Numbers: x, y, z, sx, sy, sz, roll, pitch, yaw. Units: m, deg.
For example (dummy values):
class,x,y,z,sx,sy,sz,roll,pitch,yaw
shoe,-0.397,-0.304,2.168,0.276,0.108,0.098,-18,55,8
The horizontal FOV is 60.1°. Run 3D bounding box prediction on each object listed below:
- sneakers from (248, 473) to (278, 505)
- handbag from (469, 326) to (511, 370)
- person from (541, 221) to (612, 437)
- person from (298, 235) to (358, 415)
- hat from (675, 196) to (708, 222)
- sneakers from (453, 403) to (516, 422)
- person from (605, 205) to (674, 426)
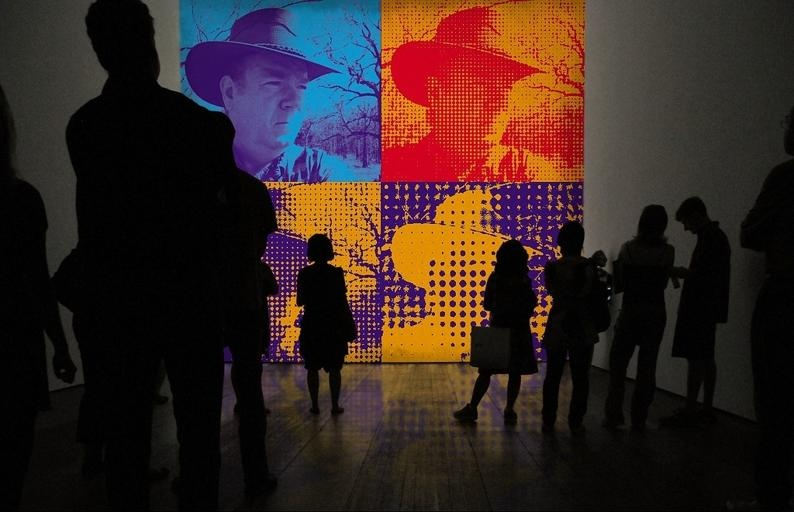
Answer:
class,x,y,z,sx,sy,sz,roll,pitch,yaw
sneakers,-0.896,1.554,4.588,0.083,0.176,0.244,8,14,37
handbag,0.813,0.796,5.927,0.332,0.363,0.347,2,-5,10
person,1.508,0.594,5.852,0.617,1.759,0.479,-1,6,-11
person,-0.626,0.619,6.158,0.519,1.601,0.275,-1,5,-8
hat,2.613,-0.423,6.045,0.186,0.243,0.250,1,4,-17
sneakers,0.756,1.353,6.046,0.575,0.245,0.202,3,-7,-4
person,2.081,0.519,5.866,0.575,1.895,0.370,0,5,3
